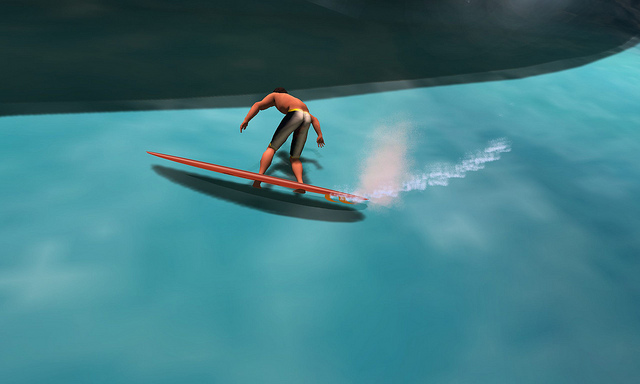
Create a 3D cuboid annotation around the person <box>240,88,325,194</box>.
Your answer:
[{"bbox_3d":[-0.595,-0.732,6.491,1.444,0.858,1.669,29,36,-21],"label":"person"}]

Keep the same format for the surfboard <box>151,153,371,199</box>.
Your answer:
[{"bbox_3d":[-0.964,-0.221,6.166,2.282,0.085,0.243,13,-6,-1],"label":"surfboard"}]
